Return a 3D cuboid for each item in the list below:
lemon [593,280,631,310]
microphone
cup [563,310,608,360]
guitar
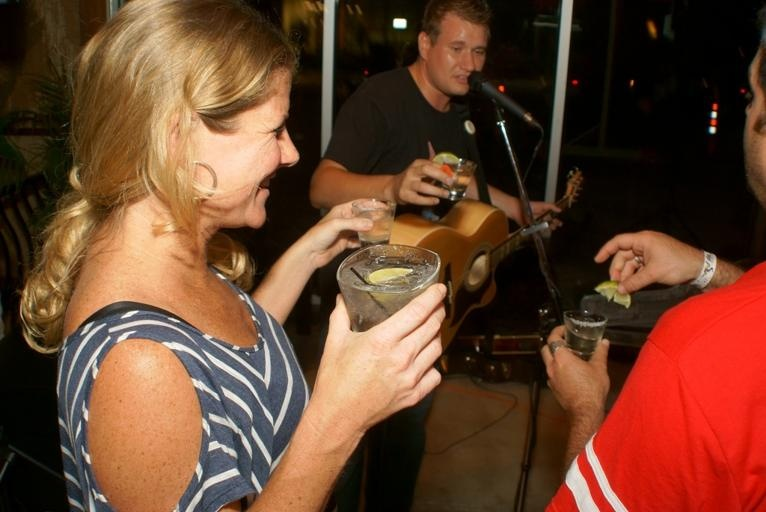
[{"bbox_3d":[1.059,0.159,2.948,0.200,0.112,0.062,22,11,-7],"label":"lemon"},{"bbox_3d":[0.619,-0.801,3.215,0.239,0.246,0.434,-2,15,-28],"label":"microphone"},{"bbox_3d":[0.888,0.354,2.821,0.180,0.202,0.186,1,19,0],"label":"cup"},{"bbox_3d":[0.671,-0.068,3.886,0.228,0.720,1.624,-3,27,48],"label":"guitar"}]
